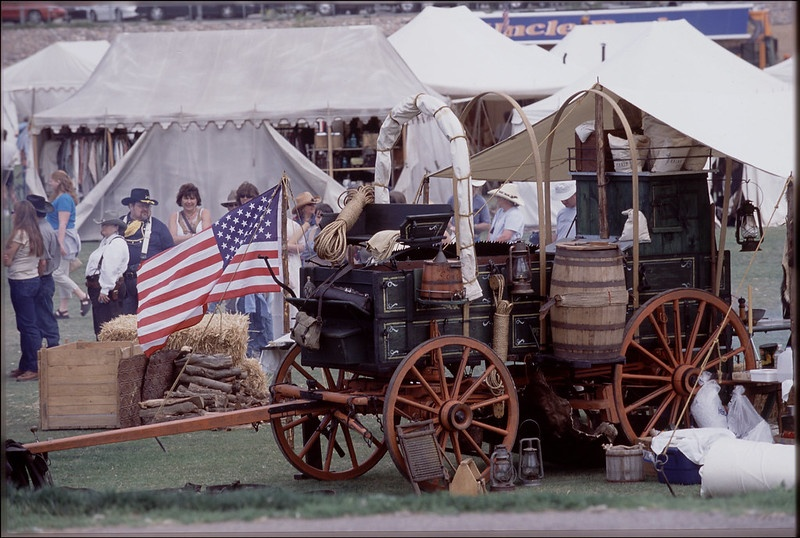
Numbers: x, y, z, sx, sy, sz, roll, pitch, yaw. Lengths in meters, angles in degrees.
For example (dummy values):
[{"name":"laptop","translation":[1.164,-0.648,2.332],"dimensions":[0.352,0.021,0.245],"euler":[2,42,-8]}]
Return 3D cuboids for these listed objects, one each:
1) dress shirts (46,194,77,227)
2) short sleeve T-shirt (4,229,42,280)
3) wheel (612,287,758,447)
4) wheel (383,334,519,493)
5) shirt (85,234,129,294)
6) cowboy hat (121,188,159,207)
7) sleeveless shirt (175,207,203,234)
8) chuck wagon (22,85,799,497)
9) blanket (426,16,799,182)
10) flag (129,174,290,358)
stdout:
[{"name":"dress shirts","translation":[-5.297,-0.917,30.174],"dimensions":[0.511,0.600,0.634],"euler":[1,-1,-5]},{"name":"short sleeve T-shirt","translation":[-5.408,-0.089,26.918],"dimensions":[0.566,0.909,0.962],"euler":[-2,-1,0]},{"name":"wheel","translation":[3.469,1.269,23.928],"dimensions":[1.842,1.763,0.453],"euler":[-6,6,-17]},{"name":"wheel","translation":[0.579,1.709,23.073],"dimensions":[1.928,1.844,0.503],"euler":[-2,2,-15]},{"name":"shirt","translation":[-4.257,-0.111,27.240],"dimensions":[0.834,0.662,0.476],"euler":[-7,-20,37]},{"name":"cowboy hat","translation":[-3.923,-1.053,29.110],"dimensions":[0.448,0.206,0.516],"euler":[-1,1,-8]},{"name":"sleeveless shirt","translation":[-3.154,-0.680,28.590],"dimensions":[0.519,0.533,0.287],"euler":[-1,-3,-5]},{"name":"chuck wagon","translation":[1.169,0.659,26.069],"dimensions":[12.173,5.802,3.945],"euler":[-1,-1,-13]},{"name":"blanket","translation":[3.308,-2.190,24.696],"dimensions":[2.993,1.060,2.956],"euler":[-1,1,19]},{"name":"flag","translation":[-2.537,0.068,25.779],"dimensions":[2.573,2.524,0.267],"euler":[-7,0,-10]}]
